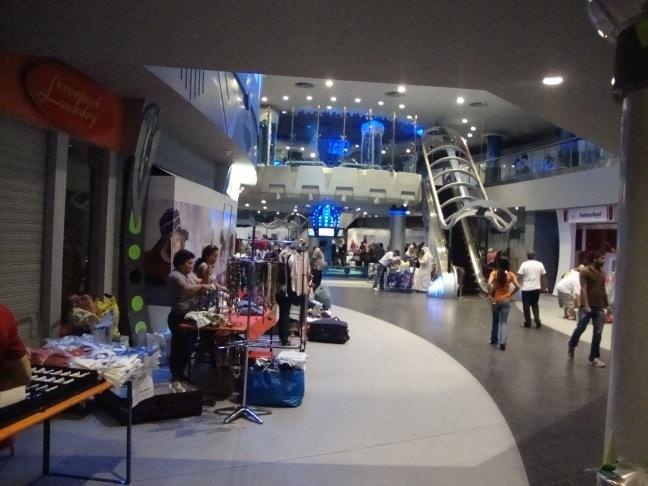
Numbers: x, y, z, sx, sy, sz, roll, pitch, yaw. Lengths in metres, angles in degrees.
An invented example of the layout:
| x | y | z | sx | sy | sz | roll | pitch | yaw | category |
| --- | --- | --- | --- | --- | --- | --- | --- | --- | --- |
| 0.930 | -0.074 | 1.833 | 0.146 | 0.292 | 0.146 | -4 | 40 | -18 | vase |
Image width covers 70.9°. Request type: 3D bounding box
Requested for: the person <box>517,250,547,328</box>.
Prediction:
| x | y | z | sx | sy | sz | roll | pitch | yaw | category |
| --- | --- | --- | --- | --- | --- | --- | --- | --- | --- |
| 4.526 | 0.996 | 10.001 | 0.516 | 1.606 | 1.478 | 3 | 3 | 25 | person |

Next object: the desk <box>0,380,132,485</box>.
| x | y | z | sx | sy | sz | roll | pitch | yaw | category |
| --- | --- | --- | --- | --- | --- | --- | --- | --- | --- |
| -2.003 | 1.511 | 3.528 | 0.489 | 0.469 | 0.918 | 4 | -1 | 5 | desk |

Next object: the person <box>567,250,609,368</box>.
| x | y | z | sx | sy | sz | roll | pitch | yaw | category |
| --- | --- | --- | --- | --- | --- | --- | --- | --- | --- |
| 3.892 | 0.946 | 6.757 | 0.547 | 1.660 | 0.593 | 4 | -1 | -31 | person |

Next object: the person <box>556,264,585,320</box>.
| x | y | z | sx | sy | sz | roll | pitch | yaw | category |
| --- | --- | --- | --- | --- | --- | --- | --- | --- | --- |
| 5.992 | 1.186 | 10.966 | 0.764 | 1.247 | 0.553 | 1 | 4 | 12 | person |

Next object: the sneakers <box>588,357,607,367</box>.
| x | y | z | sx | sy | sz | roll | pitch | yaw | category |
| --- | --- | --- | --- | --- | --- | --- | --- | --- | --- |
| 4.058 | 1.798 | 6.810 | 0.098 | 0.092 | 0.206 | 1 | -10 | -16 | sneakers |

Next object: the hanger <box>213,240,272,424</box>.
| x | y | z | sx | sy | sz | roll | pitch | yaw | category |
| --- | --- | --- | --- | --- | --- | --- | --- | --- | --- |
| -0.866 | 1.051 | 5.122 | 0.708 | 1.873 | 0.769 | 4 | 0 | -8 | hanger |

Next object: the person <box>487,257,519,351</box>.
| x | y | z | sx | sy | sz | roll | pitch | yaw | category |
| --- | --- | --- | --- | --- | --- | --- | --- | --- | --- |
| 3.061 | 1.005 | 7.855 | 0.465 | 1.521 | 0.857 | 3 | 3 | 23 | person |
